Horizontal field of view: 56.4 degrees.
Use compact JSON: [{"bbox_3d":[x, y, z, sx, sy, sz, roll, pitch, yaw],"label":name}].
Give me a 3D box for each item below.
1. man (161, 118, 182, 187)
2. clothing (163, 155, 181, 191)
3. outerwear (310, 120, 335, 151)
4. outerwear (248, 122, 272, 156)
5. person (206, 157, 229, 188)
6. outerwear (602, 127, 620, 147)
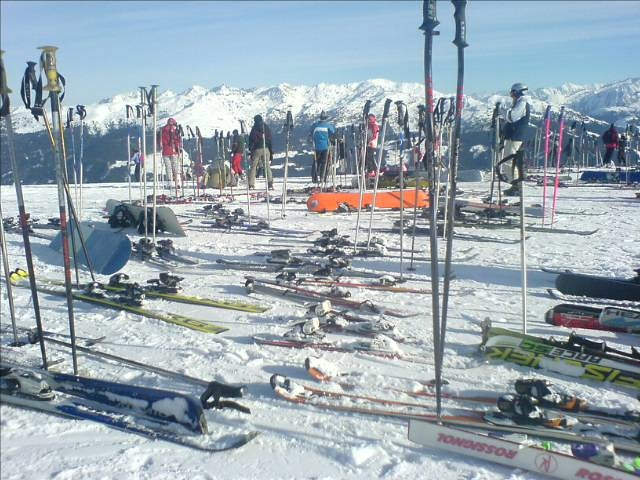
[{"bbox_3d":[-4.884,-2.939,20.250,0.854,2.538,0.775,-7,9,-31],"label":"man"},{"bbox_3d":[-5.594,-2.726,22.887,0.356,1.342,0.330,-4,1,28],"label":"clothing"},{"bbox_3d":[0.080,-3.075,17.744,0.673,0.879,0.973,-2,10,-1],"label":"outerwear"},{"bbox_3d":[-1.964,-3.337,19.726,0.864,1.147,0.636,-6,17,-23],"label":"outerwear"},{"bbox_3d":[-4.052,-2.532,23.564,1.081,1.210,1.692,0,15,-5],"label":"person"},{"bbox_3d":[12.513,-4.530,25.688,0.682,0.955,0.433,3,-3,6],"label":"outerwear"}]
